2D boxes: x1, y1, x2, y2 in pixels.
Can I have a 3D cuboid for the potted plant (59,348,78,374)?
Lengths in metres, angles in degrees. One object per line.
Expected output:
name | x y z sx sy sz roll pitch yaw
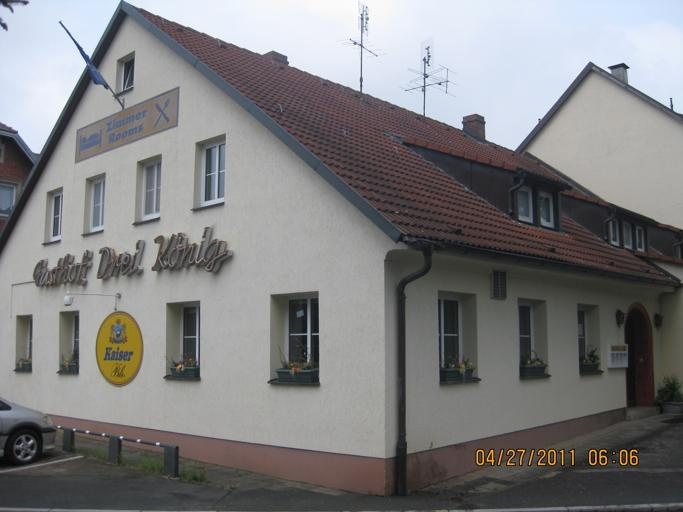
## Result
potted plant | -7.246 2.763 21.490 0.448 0.482 0.278 -14 -42 4

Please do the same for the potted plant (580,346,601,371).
potted plant | 6.347 2.628 20.887 0.541 0.706 0.569 2 -14 -5

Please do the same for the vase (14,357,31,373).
vase | -8.965 3.072 22.841 0.416 0.325 0.910 -4 8 -23

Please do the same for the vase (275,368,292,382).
vase | -1.171 2.429 16.821 0.250 0.174 0.267 -2 -5 17

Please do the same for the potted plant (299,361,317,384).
potted plant | -0.666 2.353 16.618 0.333 0.408 0.388 -2 -5 15
